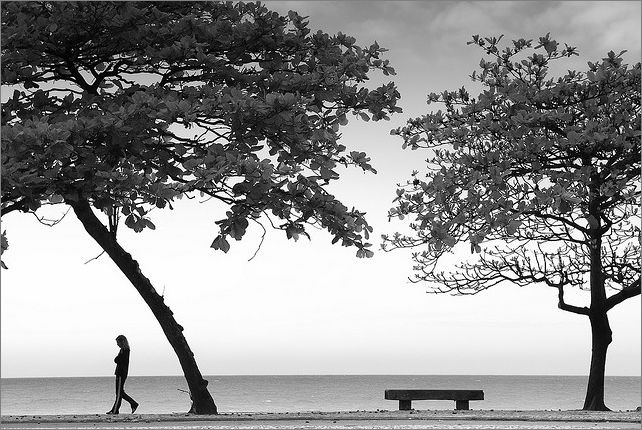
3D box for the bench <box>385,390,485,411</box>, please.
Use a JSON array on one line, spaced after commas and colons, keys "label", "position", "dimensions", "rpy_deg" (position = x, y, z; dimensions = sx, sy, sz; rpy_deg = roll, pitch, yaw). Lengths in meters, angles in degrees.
[{"label": "bench", "position": [3.148, 5.130, 28.590], "dimensions": [2.671, 0.557, 1.014], "rpy_deg": [1, -12, 3]}]
